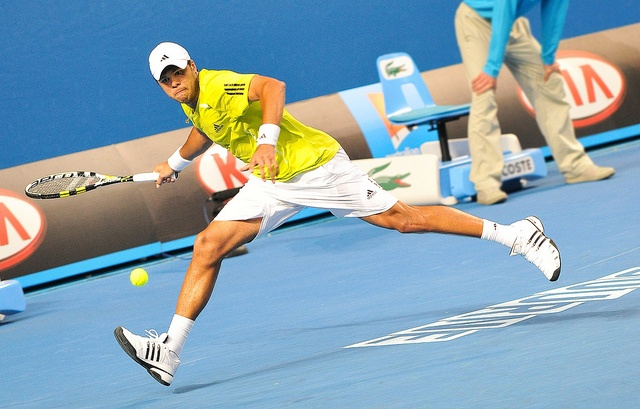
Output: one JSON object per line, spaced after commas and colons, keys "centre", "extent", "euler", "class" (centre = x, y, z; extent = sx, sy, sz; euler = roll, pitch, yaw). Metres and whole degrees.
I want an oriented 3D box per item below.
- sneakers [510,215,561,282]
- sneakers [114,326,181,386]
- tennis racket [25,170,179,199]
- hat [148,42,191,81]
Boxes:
{"centre": [1.394, 0.303, 3.896], "extent": [0.258, 0.368, 0.144], "euler": [-31, -15, -24], "class": "sneakers"}
{"centre": [-0.965, 0.877, 3.468], "extent": [0.302, 0.444, 0.189], "euler": [2, 30, 33], "class": "sneakers"}
{"centre": [-2.267, -0.191, 6.174], "extent": [1.327, 0.103, 0.347], "euler": [-6, 53, 31], "class": "tennis racket"}
{"centre": [-0.880, -0.862, 3.621], "extent": [0.191, 0.141, 0.251], "euler": [-28, 3, 8], "class": "hat"}
